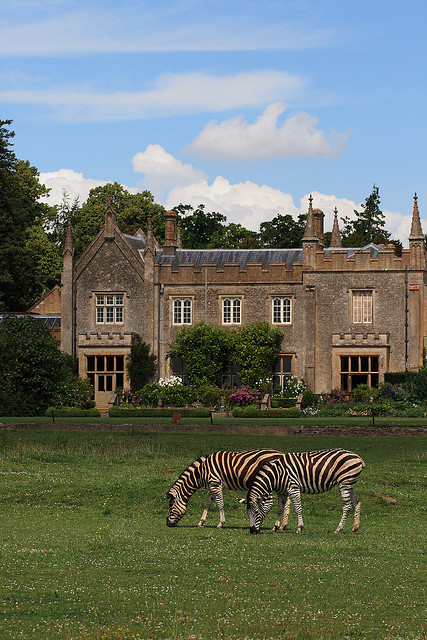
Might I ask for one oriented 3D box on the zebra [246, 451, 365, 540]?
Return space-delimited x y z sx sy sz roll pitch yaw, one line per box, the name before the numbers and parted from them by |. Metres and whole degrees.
zebra | 1.739 2.954 31.167 1.869 1.473 3.275 2 2 10
